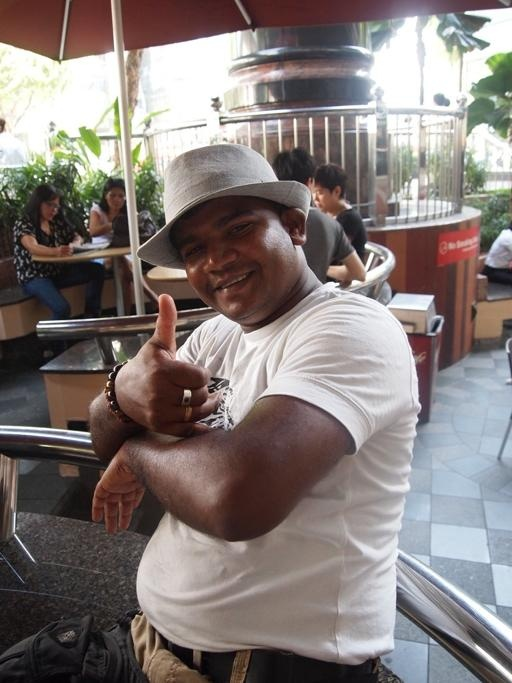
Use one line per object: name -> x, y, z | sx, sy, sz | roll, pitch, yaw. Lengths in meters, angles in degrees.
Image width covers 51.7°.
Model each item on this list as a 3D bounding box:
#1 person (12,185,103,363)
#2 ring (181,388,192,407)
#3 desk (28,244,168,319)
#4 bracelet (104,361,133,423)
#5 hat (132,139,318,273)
person -> -2.197, -0.849, 5.880 | 0.944, 1.762, 0.767 | 6, 21, 20
ring -> -0.124, 0.102, 0.940 | 0.010, 0.024, 0.023 | 9, 26, -4
desk -> -1.095, -0.546, 5.103 | 0.940, 0.588, 0.921 | -5, 8, 27
bracelet -> -0.289, 0.109, 1.152 | 0.044, 0.117, 0.091 | 2, -6, -8
hat -> -0.060, -0.312, 1.184 | 0.324, 0.168, 0.289 | -14, -3, -33
